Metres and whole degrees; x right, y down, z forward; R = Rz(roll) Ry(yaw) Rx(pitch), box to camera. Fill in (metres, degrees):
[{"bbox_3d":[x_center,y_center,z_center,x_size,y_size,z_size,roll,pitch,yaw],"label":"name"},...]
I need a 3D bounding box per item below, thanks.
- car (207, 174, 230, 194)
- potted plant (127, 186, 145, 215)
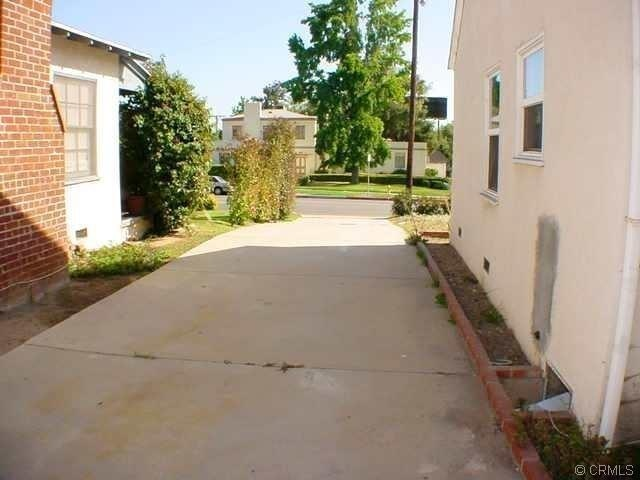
[{"bbox_3d":[-7.198,-4.022,35.467,1.065,1.306,5.250,-2,13,-13],"label":"car"},{"bbox_3d":[-4.789,-1.060,13.114,0.570,0.752,0.639,0,10,-2],"label":"potted plant"}]
